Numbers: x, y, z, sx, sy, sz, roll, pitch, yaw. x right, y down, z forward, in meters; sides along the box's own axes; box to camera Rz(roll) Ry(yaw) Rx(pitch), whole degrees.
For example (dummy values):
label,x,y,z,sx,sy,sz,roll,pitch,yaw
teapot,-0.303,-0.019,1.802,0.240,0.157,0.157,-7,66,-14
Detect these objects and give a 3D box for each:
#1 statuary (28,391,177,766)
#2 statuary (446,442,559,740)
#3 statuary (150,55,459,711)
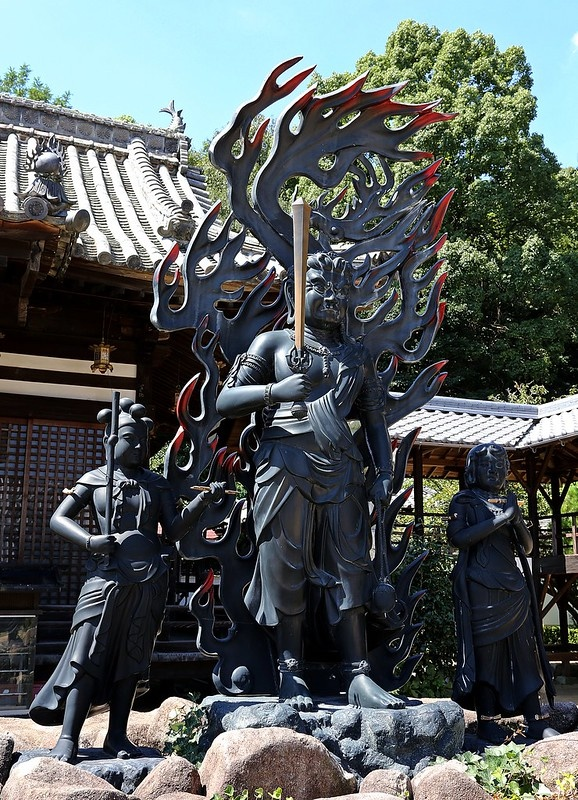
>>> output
label,x,y,z,sx,sy,sz,roll,pitch,yaw
statuary,-0.758,0.686,3.846,0.575,1.520,0.419,3,-16,-15
statuary,1.050,0.946,4.691,0.494,1.472,0.441,-4,-15,9
statuary,0.080,-0.172,4.612,1.489,3.211,1.298,-4,-15,9
